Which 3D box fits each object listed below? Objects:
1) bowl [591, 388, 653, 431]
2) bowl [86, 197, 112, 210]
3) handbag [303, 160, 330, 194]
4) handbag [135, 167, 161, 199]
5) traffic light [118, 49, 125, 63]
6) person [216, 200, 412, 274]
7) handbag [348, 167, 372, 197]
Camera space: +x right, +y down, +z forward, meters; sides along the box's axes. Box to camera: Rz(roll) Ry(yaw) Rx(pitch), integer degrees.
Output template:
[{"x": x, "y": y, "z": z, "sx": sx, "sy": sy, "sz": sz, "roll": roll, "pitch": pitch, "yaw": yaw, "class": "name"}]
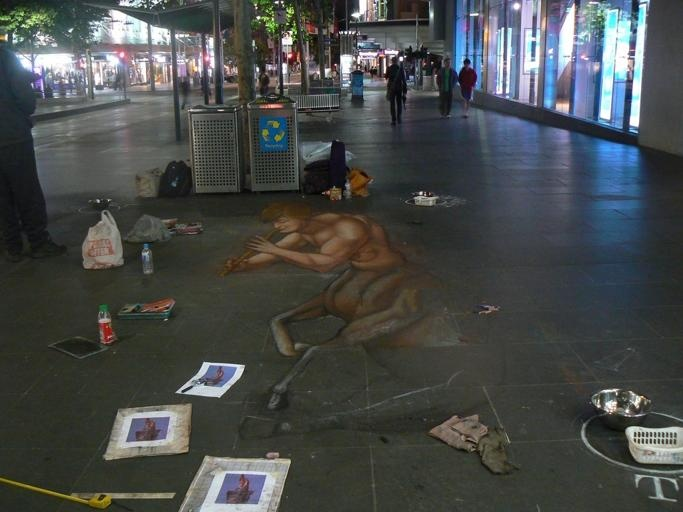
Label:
[{"x": 1.857, "y": 0.995, "z": 3.507, "sx": 0.303, "sy": 0.087, "sz": 0.263, "roll": -1, "pitch": 19, "yaw": -6, "class": "bowl"}, {"x": -4.064, "y": -0.878, "z": 8.955, "sx": 0.380, "sy": 0.099, "sz": 0.301, "roll": 1, "pitch": 15, "yaw": 7, "class": "bowl"}, {"x": -0.471, "y": -1.464, "z": 9.917, "sx": 0.498, "sy": 0.624, "sz": 0.389, "roll": -2, "pitch": 21, "yaw": -3, "class": "handbag"}, {"x": -3.519, "y": -1.346, "z": 10.140, "sx": 0.467, "sy": 0.474, "sz": 0.579, "roll": 4, "pitch": -1, "yaw": 1, "class": "handbag"}, {"x": -16.356, "y": -14.928, "z": 39.904, "sx": 0.474, "sy": 0.749, "sz": 3.358, "roll": -8, "pitch": 19, "yaw": -19, "class": "traffic light"}, {"x": -0.282, "y": -0.267, "z": 7.192, "sx": 1.951, "sy": 0.563, "sz": 0.925, "roll": -5, "pitch": 4, "yaw": -7, "class": "person"}, {"x": 0.325, "y": -1.355, "z": 9.818, "sx": 0.404, "sy": 0.454, "sz": 0.578, "roll": 0, "pitch": 19, "yaw": 1, "class": "handbag"}]
